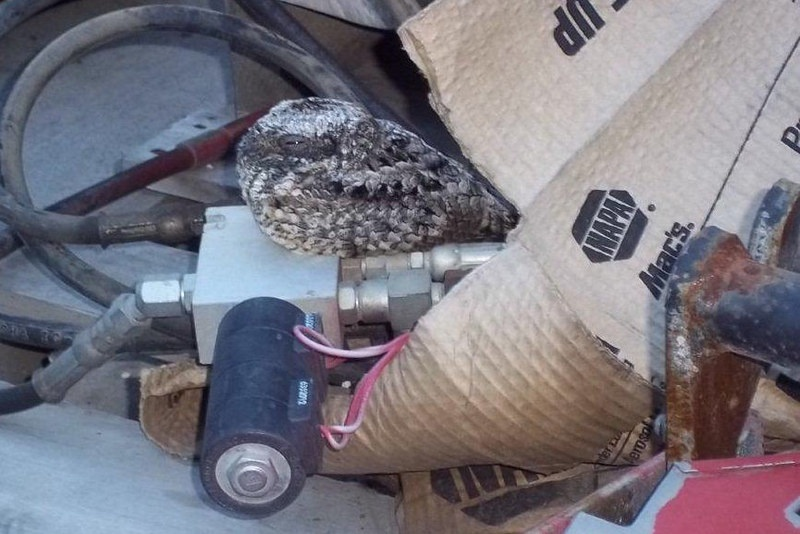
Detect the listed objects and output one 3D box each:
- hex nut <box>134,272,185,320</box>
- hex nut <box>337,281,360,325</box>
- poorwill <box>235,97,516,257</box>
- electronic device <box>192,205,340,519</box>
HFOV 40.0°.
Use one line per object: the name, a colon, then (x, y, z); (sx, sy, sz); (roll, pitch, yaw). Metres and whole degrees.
hex nut: (-0.498, 0.064, 2.283); (0.102, 0.090, 0.078); (0, -2, 0)
hex nut: (-0.104, 0.075, 2.304); (0.059, 0.125, 0.123); (-1, 6, -3)
poorwill: (-0.009, -0.178, 2.376); (0.663, 0.301, 0.385); (8, 28, 5)
electronic device: (-0.266, 0.191, 2.109); (0.245, 0.454, 0.489); (5, 20, -7)
